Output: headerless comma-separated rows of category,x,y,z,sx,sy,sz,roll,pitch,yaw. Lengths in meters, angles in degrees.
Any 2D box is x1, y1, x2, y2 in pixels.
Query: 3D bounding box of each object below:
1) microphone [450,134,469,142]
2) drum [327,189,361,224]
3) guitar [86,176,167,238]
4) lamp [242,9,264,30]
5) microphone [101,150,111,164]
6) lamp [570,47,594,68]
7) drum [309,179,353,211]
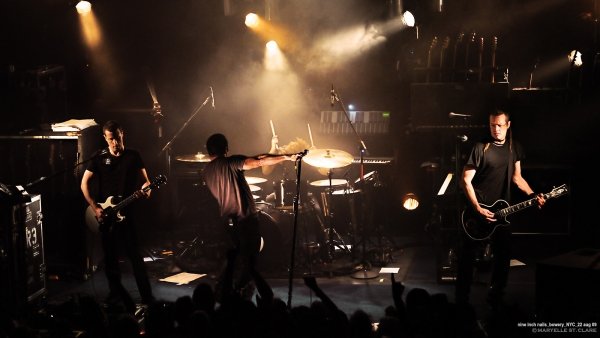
microphone,2.787,-0.529,8.520,0.230,0.090,0.169,3,1,10
drum,0.853,0.740,9.943,0.734,0.666,0.667,-2,1,22
guitar,-3.089,0.625,8.416,1.382,0.903,0.435,-6,-9,19
lamp,-1.075,-3.388,11.212,0.426,0.369,0.514,-3,-8,-7
microphone,-3.313,-0.207,8.349,0.176,0.265,0.128,-1,-9,-21
lamp,5.402,-2.137,9.472,0.388,0.466,0.159,5,-3,6
drum,0.624,0.514,9.950,0.745,0.419,0.701,0,-4,0
